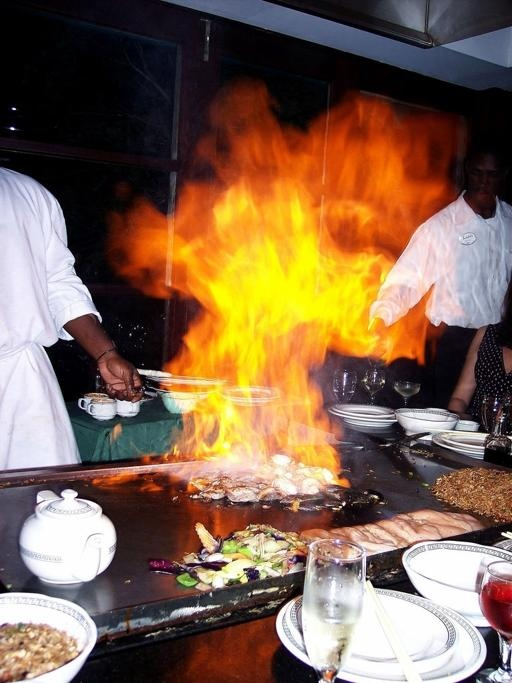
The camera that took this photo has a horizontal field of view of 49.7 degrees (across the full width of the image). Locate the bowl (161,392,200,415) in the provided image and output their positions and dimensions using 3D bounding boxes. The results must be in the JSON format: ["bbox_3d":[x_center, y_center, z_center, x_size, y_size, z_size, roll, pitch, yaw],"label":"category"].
[{"bbox_3d":[-0.399,0.315,2.850,0.143,0.071,0.139,2,-4,0],"label":"bowl"}]

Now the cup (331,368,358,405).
[{"bbox_3d":[0.411,0.214,2.591,0.108,0.178,0.197,5,5,8],"label":"cup"}]

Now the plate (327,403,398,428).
[{"bbox_3d":[0.466,0.321,2.412,0.288,0.058,0.336,5,5,14],"label":"plate"}]

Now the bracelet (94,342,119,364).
[{"bbox_3d":[-0.517,0.038,1.939,0.070,0.022,0.069,-36,4,5],"label":"bracelet"}]

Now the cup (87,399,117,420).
[{"bbox_3d":[-0.728,0.327,2.643,0.125,0.079,0.093,0,4,-19],"label":"cup"}]

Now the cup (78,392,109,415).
[{"bbox_3d":[-0.810,0.310,2.763,0.111,0.089,0.156,10,-12,-23],"label":"cup"}]

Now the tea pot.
[{"bbox_3d":[-0.325,0.339,0.951,0.161,0.134,0.128,4,5,4],"label":"tea pot"}]

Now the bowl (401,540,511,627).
[{"bbox_3d":[0.346,0.402,0.951,0.158,0.056,0.150,0,3,0],"label":"bowl"}]
